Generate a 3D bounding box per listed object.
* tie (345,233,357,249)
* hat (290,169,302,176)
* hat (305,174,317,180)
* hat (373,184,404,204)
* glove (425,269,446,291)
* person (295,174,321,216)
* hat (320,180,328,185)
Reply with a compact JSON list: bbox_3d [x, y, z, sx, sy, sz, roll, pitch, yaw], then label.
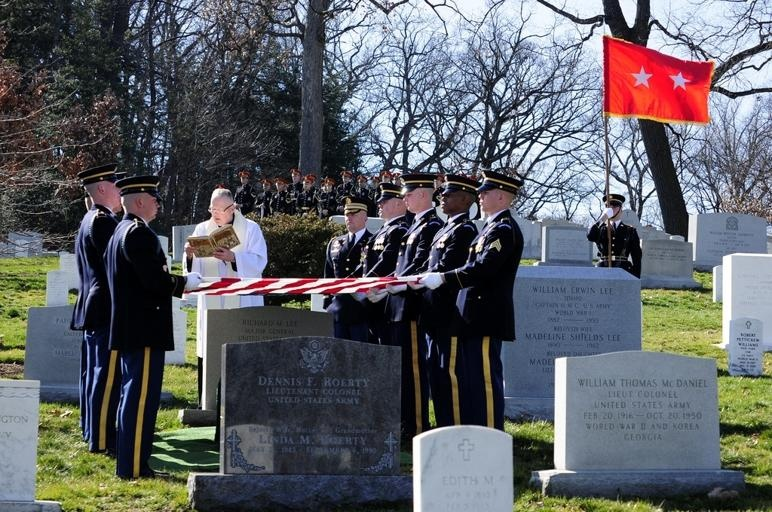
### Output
[{"bbox_3d":[-0.688,-0.309,31.404,0.218,0.300,0.075,0,-7,21],"label":"tie"},{"bbox_3d":[-2.543,-2.448,44.919,0.381,0.147,0.334,6,-2,-45],"label":"hat"},{"bbox_3d":[-2.164,-2.298,44.796,0.274,0.086,0.261,2,-2,9],"label":"hat"},{"bbox_3d":[0.142,-1.292,31.066,0.403,0.262,0.534,-4,-4,34],"label":"hat"},{"bbox_3d":[0.896,0.441,29.383,0.455,0.314,0.295,0,-3,1],"label":"glove"},{"bbox_3d":[-2.239,-1.794,44.202,0.603,1.139,1.515,0,-3,-3],"label":"person"},{"bbox_3d":[-1.797,-2.174,45.056,0.254,0.116,0.337,-1,1,-2],"label":"hat"}]
